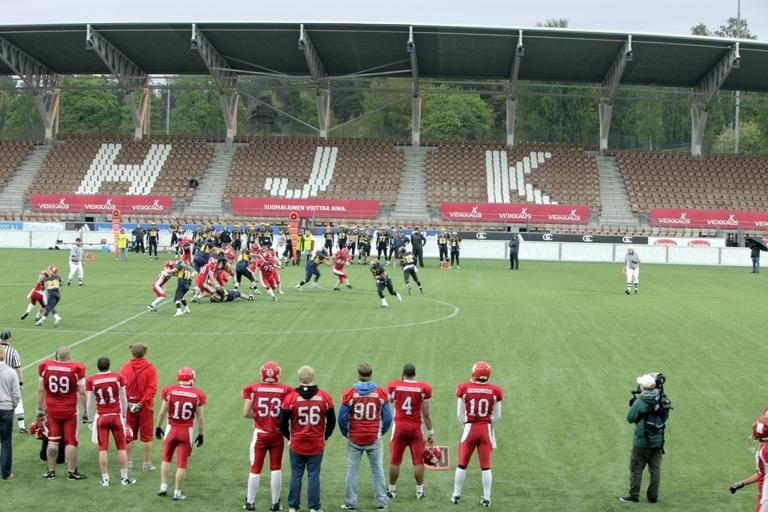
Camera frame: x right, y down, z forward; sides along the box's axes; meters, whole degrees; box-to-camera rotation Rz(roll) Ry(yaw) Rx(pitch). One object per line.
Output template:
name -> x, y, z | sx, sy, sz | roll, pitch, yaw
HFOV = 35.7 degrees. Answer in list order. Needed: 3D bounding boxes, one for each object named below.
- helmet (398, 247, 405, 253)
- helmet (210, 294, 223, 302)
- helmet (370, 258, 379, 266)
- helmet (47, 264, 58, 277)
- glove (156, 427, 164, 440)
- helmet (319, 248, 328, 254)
helmet -> 1.068, -0.421, 71.831 | 0.383, 0.183, 0.512 | -1, 1, 0
helmet -> -8.807, 2.210, 62.968 | 0.524, 0.434, 0.395 | 2, -5, -14
helmet -> -0.487, 0.219, 62.231 | 0.356, 0.460, 0.422 | 12, -9, 21
helmet -> -16.701, 0.706, 60.293 | 0.406, 0.480, 0.517 | 13, 15, -17
glove -> -8.970, 7.116, 47.922 | 0.371, 0.486, 0.176 | -3, -4, -3
helmet -> -3.273, -0.248, 65.905 | 0.278, 0.340, 0.337 | 9, 29, -23
